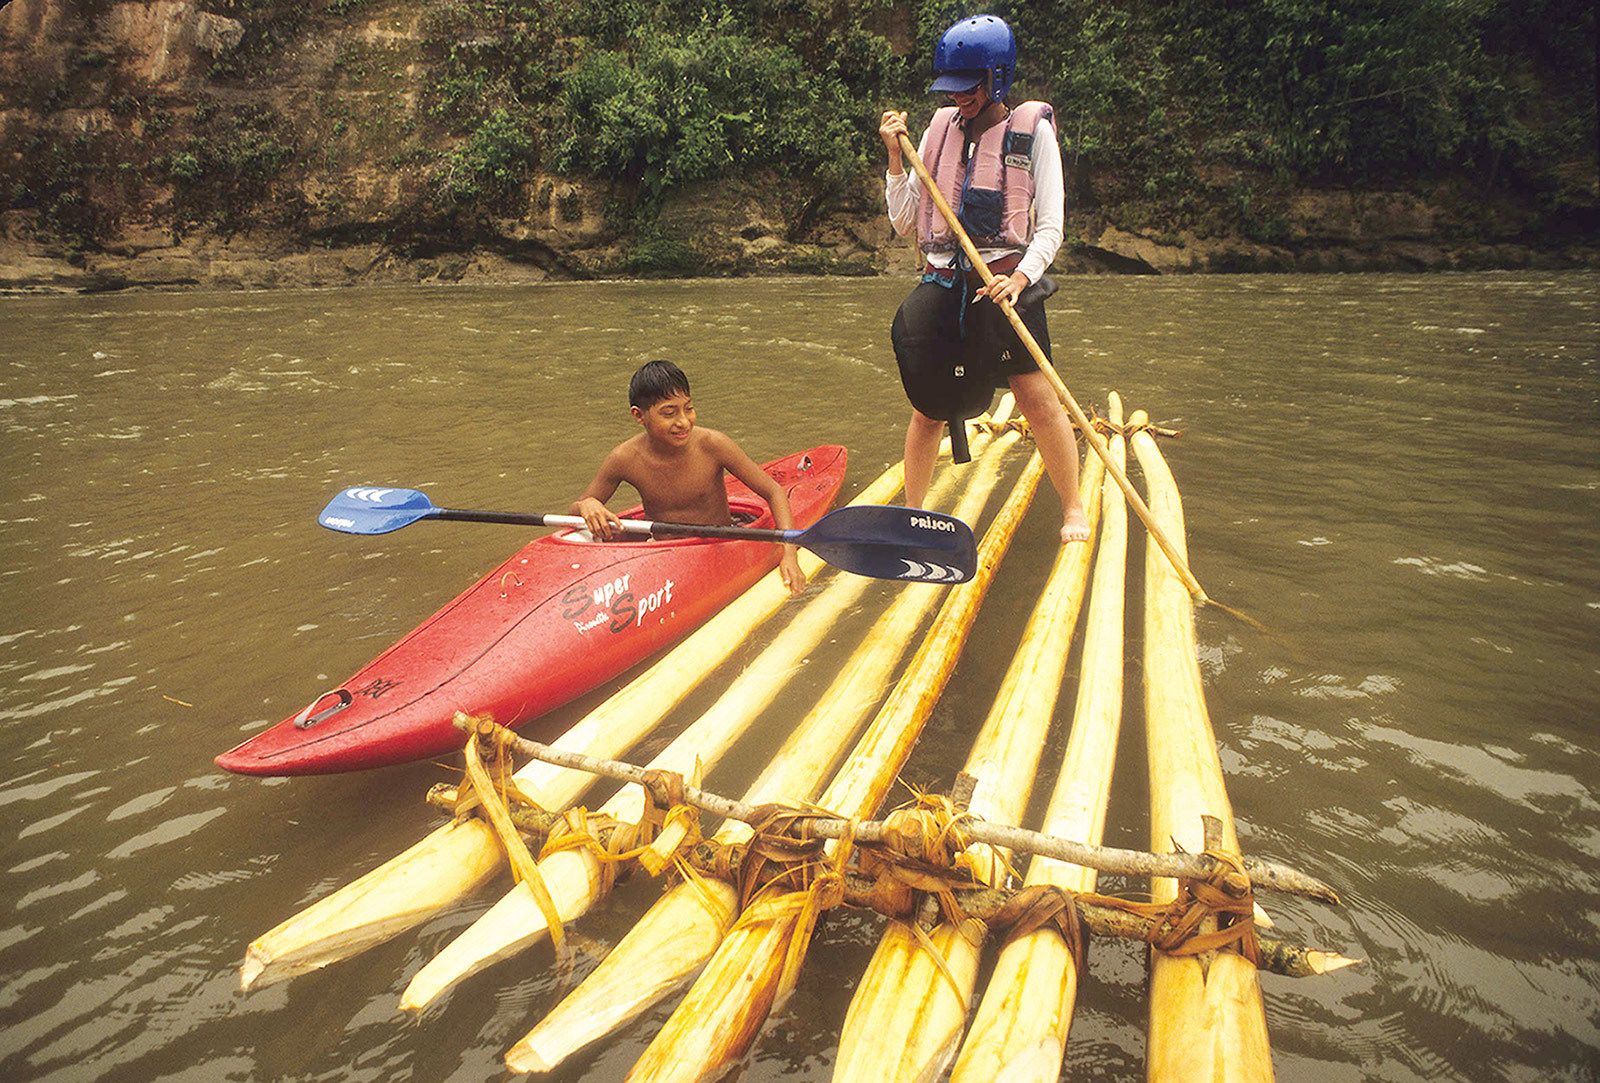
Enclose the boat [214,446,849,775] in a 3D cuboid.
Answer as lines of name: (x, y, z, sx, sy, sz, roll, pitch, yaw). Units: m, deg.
boat: (-0.644, 0.167, 5.312, 3.410, 0.528, 0.717, -28, 33, -36)
